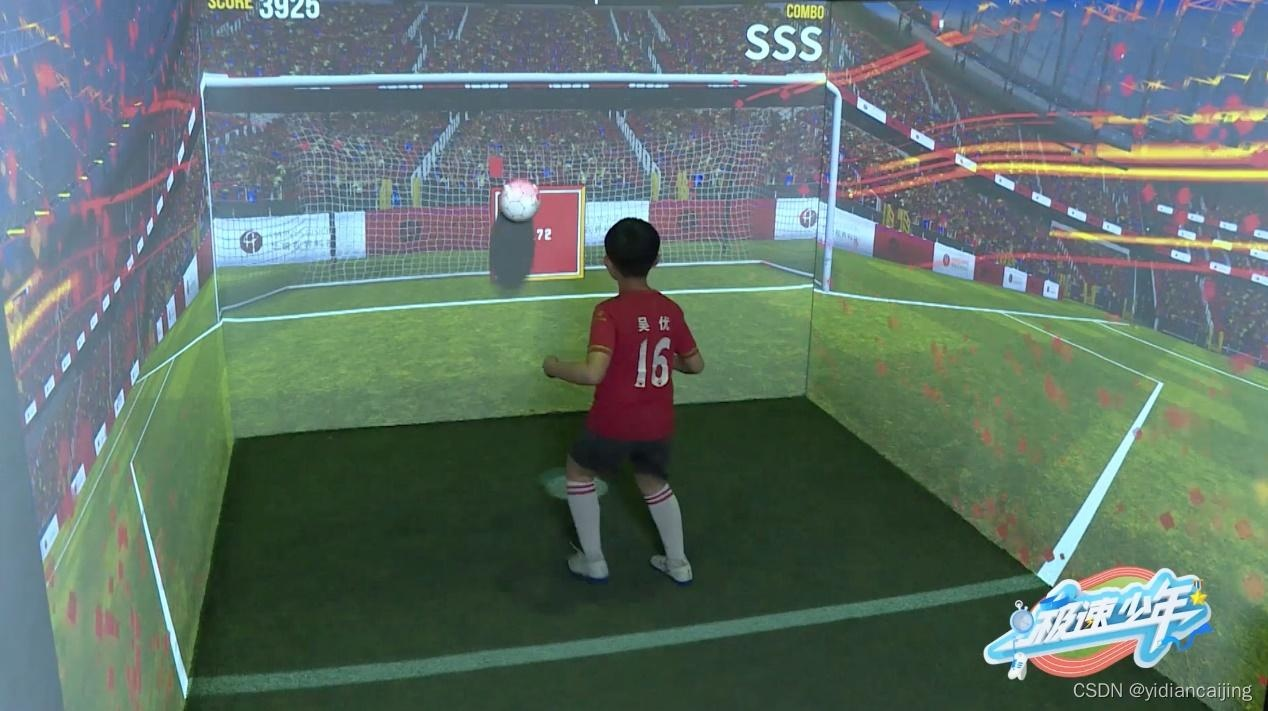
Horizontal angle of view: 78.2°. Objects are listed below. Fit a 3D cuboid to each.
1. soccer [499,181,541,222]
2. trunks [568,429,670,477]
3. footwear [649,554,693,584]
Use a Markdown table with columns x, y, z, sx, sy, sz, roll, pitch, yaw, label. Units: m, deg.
| x | y | z | sx | sy | sz | roll | pitch | yaw | label |
| --- | --- | --- | --- | --- | --- | --- | --- | --- | --- |
| -0.829 | -1.180 | 5.947 | 0.307 | 0.322 | 0.296 | 3 | 48 | 10 | soccer |
| -0.084 | 0.547 | 4.333 | 0.420 | 0.210 | 0.283 | 1 | 16 | -5 | trunks |
| 0.188 | 1.221 | 4.608 | 0.107 | 0.112 | 0.289 | -14 | 30 | -40 | footwear |
